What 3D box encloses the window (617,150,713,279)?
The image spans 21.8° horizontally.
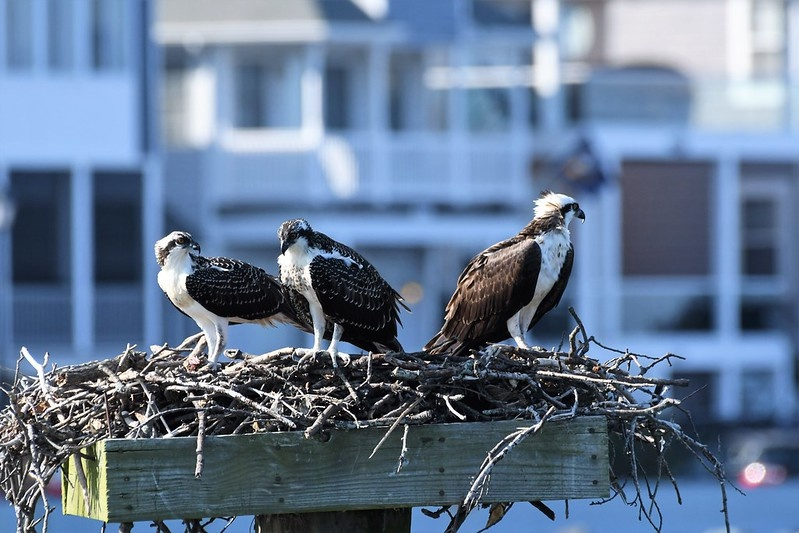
[{"bbox_3d":[4.564,-0.901,35.750,2.309,2.592,0.285,0,1,4],"label":"window"}]
